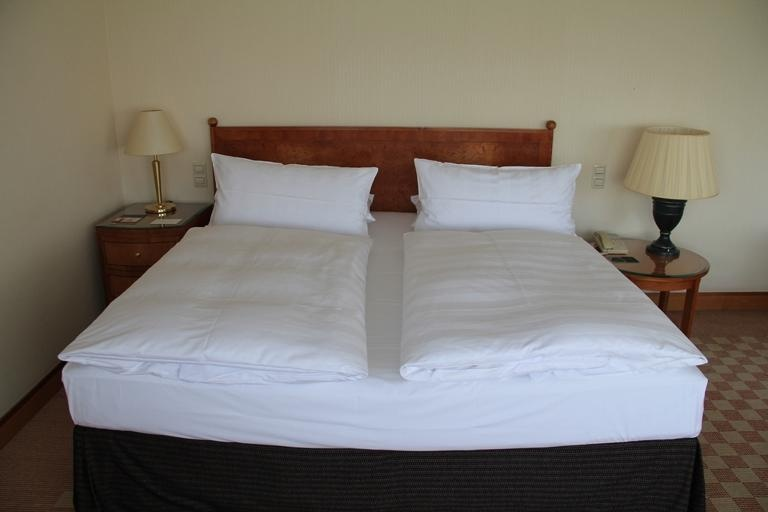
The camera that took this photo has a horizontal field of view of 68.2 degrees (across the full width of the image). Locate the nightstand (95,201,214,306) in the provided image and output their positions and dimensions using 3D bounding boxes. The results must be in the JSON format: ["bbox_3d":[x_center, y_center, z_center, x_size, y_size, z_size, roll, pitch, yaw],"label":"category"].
[{"bbox_3d":[-1.623,0.127,4.088,0.732,0.729,0.653,-4,13,-20],"label":"nightstand"}]

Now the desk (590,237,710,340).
[{"bbox_3d":[1.599,0.168,3.413,0.542,0.558,0.495,-7,40,0],"label":"desk"}]
